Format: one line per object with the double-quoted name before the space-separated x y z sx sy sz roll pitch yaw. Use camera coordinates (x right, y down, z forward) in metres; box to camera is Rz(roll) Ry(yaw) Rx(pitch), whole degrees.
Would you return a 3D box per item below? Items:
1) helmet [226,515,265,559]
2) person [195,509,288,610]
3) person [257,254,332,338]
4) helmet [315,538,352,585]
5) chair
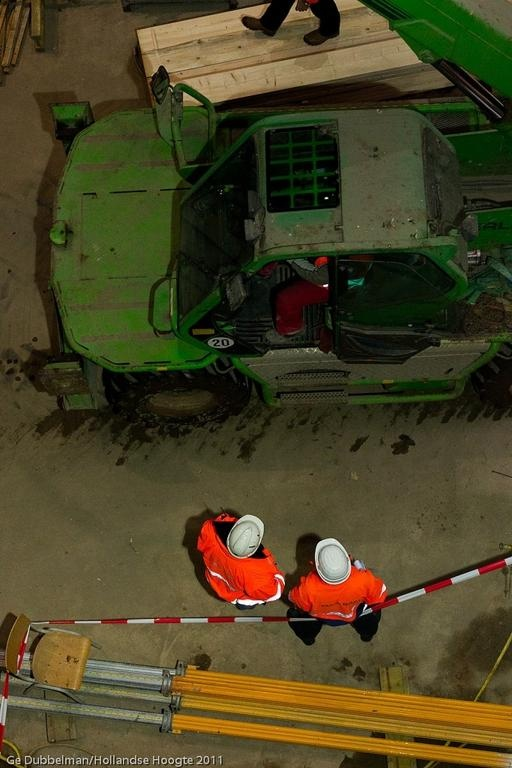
"helmet" -0.063 0.978 4.672 0.193 0.249 0.126 32 1 4
"person" -0.100 1.273 5.109 0.682 0.768 0.473 41 75 15
"person" 0.266 -0.599 4.902 0.437 0.659 0.519 -7 29 1
"helmet" 0.463 1.106 4.529 0.215 0.090 0.260 -15 59 -7
"chair" -1.537 2.121 5.503 0.609 0.425 0.766 7 -7 -2
